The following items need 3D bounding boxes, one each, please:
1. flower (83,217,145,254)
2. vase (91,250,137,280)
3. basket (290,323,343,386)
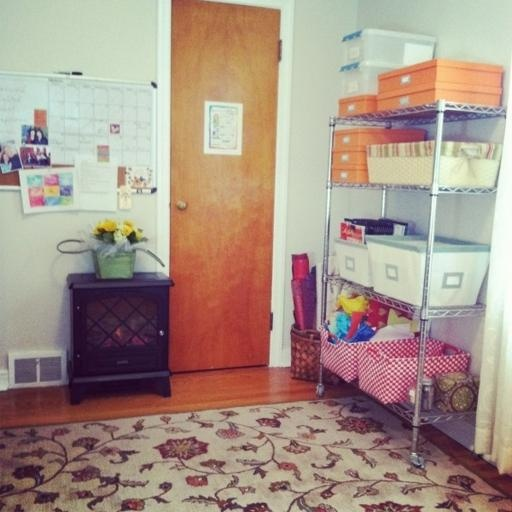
[{"bbox_3d":[-0.742,-0.105,2.528,0.219,0.113,0.224,16,21,41],"label":"flower"},{"bbox_3d":[-0.742,0.048,2.523,0.174,0.115,0.162,1,3,-8],"label":"vase"},{"bbox_3d":[0.296,0.580,2.949,0.329,0.304,0.309,0,7,-20],"label":"basket"}]
